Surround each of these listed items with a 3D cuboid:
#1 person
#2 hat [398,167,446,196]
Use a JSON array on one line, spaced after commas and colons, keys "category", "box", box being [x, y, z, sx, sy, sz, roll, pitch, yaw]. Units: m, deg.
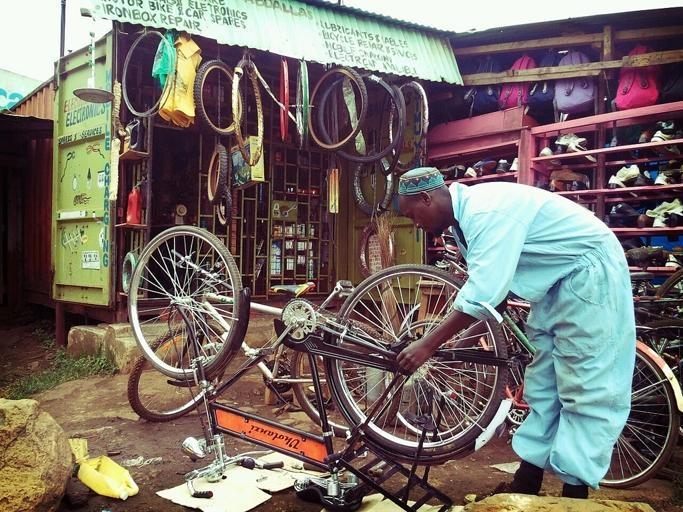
[{"category": "person", "box": [1.173, 0.500, 3.536, 1.337, 2.092, 0.656, 3, 8, 19]}, {"category": "hat", "box": [0.528, -0.489, 3.671, 0.214, 0.117, 0.222, -15, 5, 27]}]
